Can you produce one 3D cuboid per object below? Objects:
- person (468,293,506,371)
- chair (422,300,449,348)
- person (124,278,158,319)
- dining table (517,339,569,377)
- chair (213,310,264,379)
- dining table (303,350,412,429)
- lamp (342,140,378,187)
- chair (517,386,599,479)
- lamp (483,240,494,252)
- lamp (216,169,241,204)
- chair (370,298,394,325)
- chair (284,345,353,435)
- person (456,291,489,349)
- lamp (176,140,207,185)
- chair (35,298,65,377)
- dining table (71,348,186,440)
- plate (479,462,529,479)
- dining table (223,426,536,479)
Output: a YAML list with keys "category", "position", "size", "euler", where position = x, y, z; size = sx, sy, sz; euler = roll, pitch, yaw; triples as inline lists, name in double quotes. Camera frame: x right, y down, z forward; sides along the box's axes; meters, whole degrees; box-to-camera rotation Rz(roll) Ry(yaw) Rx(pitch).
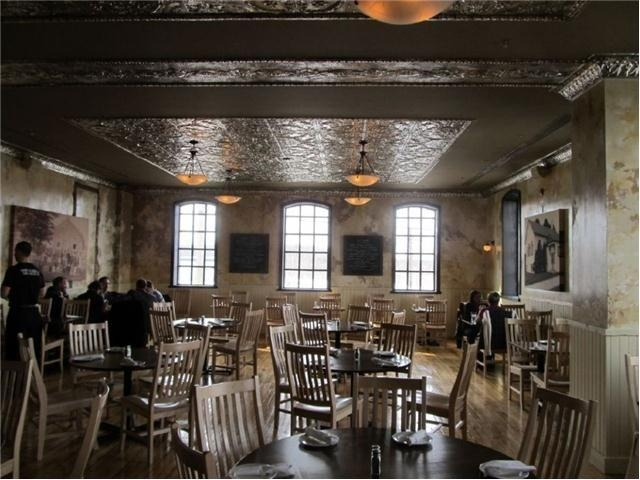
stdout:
- category: "person"
  position: [2.970, 1.890, 9.614]
  size: [0.831, 1.234, 0.868]
  euler: [-2, -12, 30]
- category: "chair"
  position: [2.681, 1.918, 12.308]
  size: [0.505, 1.065, 1.294]
  euler: [0, -7, 11]
- category: "person"
  position: [-3.173, 0.990, 9.716]
  size: [0.507, 0.441, 1.467]
  euler: [1, -24, -6]
- category: "dining table"
  position: [3.150, 1.646, 7.442]
  size: [0.549, 0.536, 1.341]
  euler: [0, -7, 9]
- category: "chair"
  position: [-1.424, 1.772, 8.958]
  size: [0.785, 1.184, 0.738]
  euler: [3, 0, 28]
- category: "dining table"
  position: [0.387, 1.631, 5.764]
  size: [1.165, 0.709, 1.176]
  euler: [0, -5, 3]
- category: "lamp"
  position: [0.732, -1.317, 8.997]
  size: [0.607, 0.756, 0.646]
  euler: [0, 2, -10]
- category: "chair"
  position: [1.956, 1.633, 4.397]
  size: [0.446, 0.784, 0.701]
  euler: [2, -6, -16]
- category: "lamp"
  position: [4.089, 0.131, 12.729]
  size: [0.271, 0.274, 0.201]
  euler: [1, -1, -1]
- category: "lamp"
  position: [-1.996, -1.187, 11.314]
  size: [0.579, 0.699, 0.581]
  euler: [11, 8, 35]
- category: "chair"
  position: [1.332, 1.565, 11.318]
  size: [0.546, 0.827, 0.577]
  euler: [1, -1, 9]
- category: "chair"
  position: [-0.063, 1.713, 6.050]
  size: [0.706, 1.035, 0.692]
  euler: [-2, -6, 22]
- category: "person"
  position: [3.021, 1.601, 10.402]
  size: [0.817, 1.298, 1.296]
  euler: [2, -3, 20]
- category: "lamp"
  position: [-2.225, -1.368, 9.201]
  size: [0.550, 0.767, 0.551]
  euler: [2, -1, -28]
- category: "chair"
  position: [-4.491, 1.627, 8.893]
  size: [0.514, 1.167, 0.496]
  euler: [5, 6, -22]
- category: "dining table"
  position: [-2.362, 1.749, 6.558]
  size: [1.148, 0.821, 1.161]
  euler: [0, -8, 5]
- category: "plate"
  position: [1.438, 1.784, 4.068]
  size: [0.189, 0.033, 0.169]
  euler: [-1, -4, -10]
- category: "dining table"
  position: [0.470, 1.739, 4.277]
  size: [2.019, 0.255, 0.663]
  euler: [0, -7, 4]
